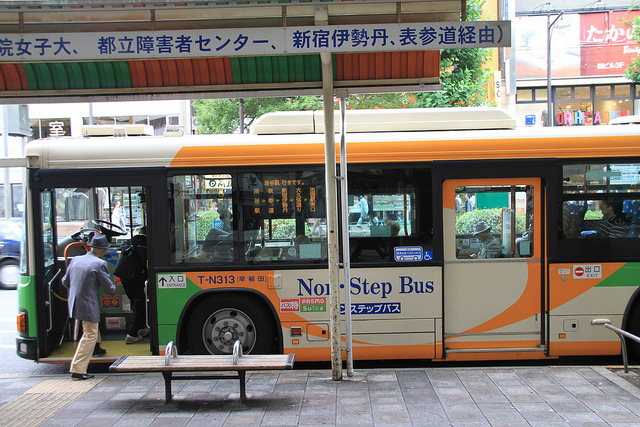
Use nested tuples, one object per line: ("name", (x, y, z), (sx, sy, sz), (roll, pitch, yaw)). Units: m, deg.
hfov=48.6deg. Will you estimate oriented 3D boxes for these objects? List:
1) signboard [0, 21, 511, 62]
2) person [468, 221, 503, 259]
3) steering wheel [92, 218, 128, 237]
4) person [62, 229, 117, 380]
("signboard", (-1.045, -2.581, 10.610), (7.427, 0.468, 0.193), (-2, 2, 0))
("person", (2.757, 0.430, 12.291), (0.660, 0.761, 0.575), (-2, 11, 21))
("steering wheel", (-4.061, 0.279, 13.664), (0.453, 0.161, 0.454), (15, 6, -2))
("person", (-3.887, 1.553, 11.949), (0.753, 2.398, 0.416), (-4, 3, -25))
